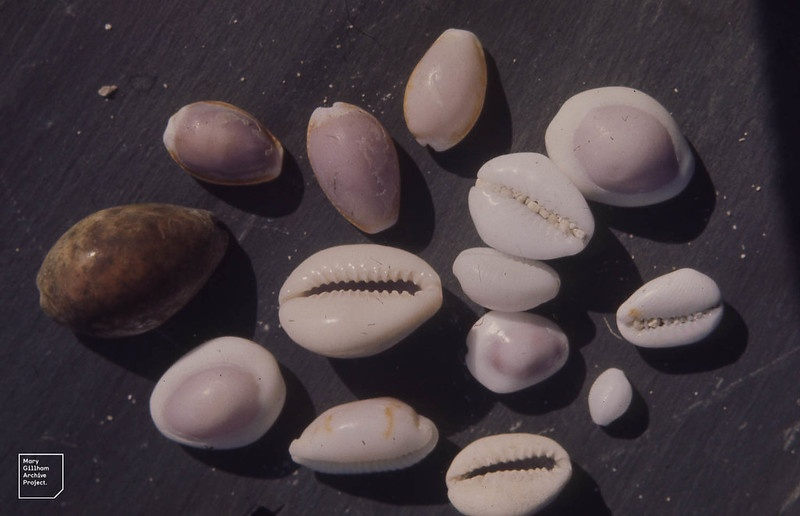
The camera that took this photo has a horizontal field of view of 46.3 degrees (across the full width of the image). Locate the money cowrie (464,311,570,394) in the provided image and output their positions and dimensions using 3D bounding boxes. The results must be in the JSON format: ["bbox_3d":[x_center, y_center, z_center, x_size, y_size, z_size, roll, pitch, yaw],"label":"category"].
[{"bbox_3d":[0.297,0.239,2.377,0.255,0.057,0.195,1,77,1],"label":"money cowrie"}]

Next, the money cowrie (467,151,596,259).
[{"bbox_3d":[0.327,-0.121,2.379,0.303,0.127,0.260,0,77,1],"label":"money cowrie"}]

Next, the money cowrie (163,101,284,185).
[{"bbox_3d":[-0.448,-0.286,2.384,0.294,0.095,0.191,26,79,6],"label":"money cowrie"}]

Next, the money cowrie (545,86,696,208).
[{"bbox_3d":[0.535,-0.239,2.425,0.428,0.383,0.156,-13,73,-6],"label":"money cowrie"}]

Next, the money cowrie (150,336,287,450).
[{"bbox_3d":[-0.462,0.352,2.368,0.338,0.096,0.267,-25,78,-4],"label":"money cowrie"}]
